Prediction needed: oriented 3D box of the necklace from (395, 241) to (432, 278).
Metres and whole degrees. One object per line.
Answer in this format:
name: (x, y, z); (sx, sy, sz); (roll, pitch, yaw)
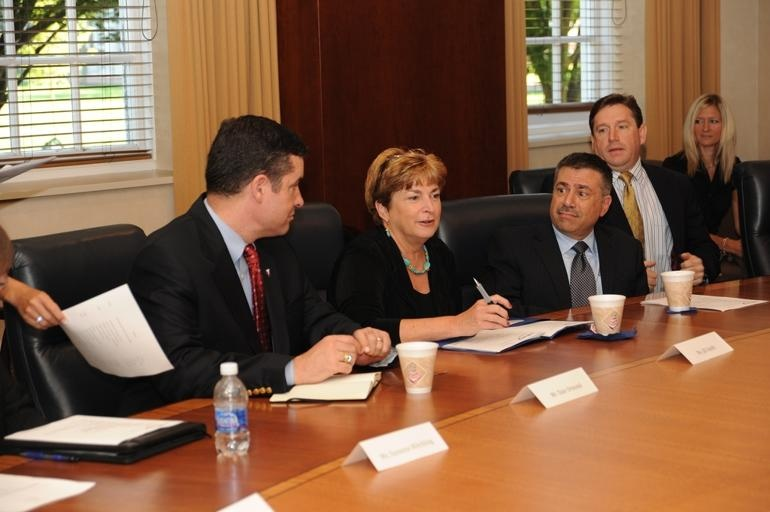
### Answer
necklace: (0.160, 0.017, 2.946); (0.117, 0.144, 0.032); (-4, -13, -31)

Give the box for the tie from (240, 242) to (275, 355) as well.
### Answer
tie: (-0.481, 0.173, 2.320); (0.073, 0.495, 0.057); (-7, 4, -17)

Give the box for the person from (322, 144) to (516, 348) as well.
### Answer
person: (0.183, 0.034, 2.891); (0.856, 1.045, 0.795); (2, 10, 16)

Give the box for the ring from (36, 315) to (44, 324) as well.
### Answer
ring: (-1.103, 0.202, 1.957); (0.026, 0.025, 0.007); (2, -1, -21)

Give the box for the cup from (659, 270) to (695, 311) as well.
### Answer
cup: (1.208, 0.141, 2.536); (0.148, 0.170, 0.152); (0, -6, 0)

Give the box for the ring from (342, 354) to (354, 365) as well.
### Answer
ring: (-0.112, 0.316, 1.869); (0.024, 0.014, 0.033); (21, 10, 0)

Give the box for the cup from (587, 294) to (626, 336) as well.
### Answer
cup: (0.818, 0.230, 2.280); (0.140, 0.147, 0.149); (-6, 4, 0)

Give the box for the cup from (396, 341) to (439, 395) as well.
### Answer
cup: (0.096, 0.324, 1.798); (0.132, 0.138, 0.134); (-2, 0, 0)

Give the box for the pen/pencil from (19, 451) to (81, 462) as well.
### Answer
pen/pencil: (-0.799, 0.483, 1.472); (0.130, 0.014, 0.014); (4, 27, 11)
